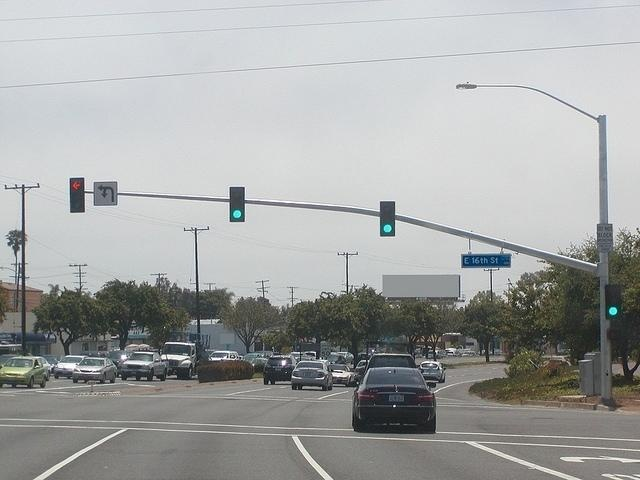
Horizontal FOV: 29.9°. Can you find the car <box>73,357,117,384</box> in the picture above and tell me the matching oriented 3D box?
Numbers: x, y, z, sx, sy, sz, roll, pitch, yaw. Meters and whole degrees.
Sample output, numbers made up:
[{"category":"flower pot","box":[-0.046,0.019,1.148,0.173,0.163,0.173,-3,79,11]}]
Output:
[{"category":"car","box":[-12.327,7.202,66.303,1.019,0.954,2.568,0,-10,4]}]

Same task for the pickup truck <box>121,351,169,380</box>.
[{"category":"pickup truck","box":[-10.325,7.414,71.190,1.223,1.267,2.931,0,-11,4]}]

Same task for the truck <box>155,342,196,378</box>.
[{"category":"truck","box":[-8.827,7.368,74.920,1.296,1.631,2.490,0,-8,4]}]

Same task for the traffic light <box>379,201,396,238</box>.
[{"category":"traffic light","box":[2.674,-0.807,47.525,0.650,1.294,0.342,1,-9,1]}]

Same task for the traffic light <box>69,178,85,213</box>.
[{"category":"traffic light","box":[-9.725,-1.821,47.603,0.589,0.195,1.665,-2,-53,-14]}]

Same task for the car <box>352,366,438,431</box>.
[{"category":"car","box":[2.429,5.276,39.553,1.598,1.477,3.967,0,-1,2]}]
